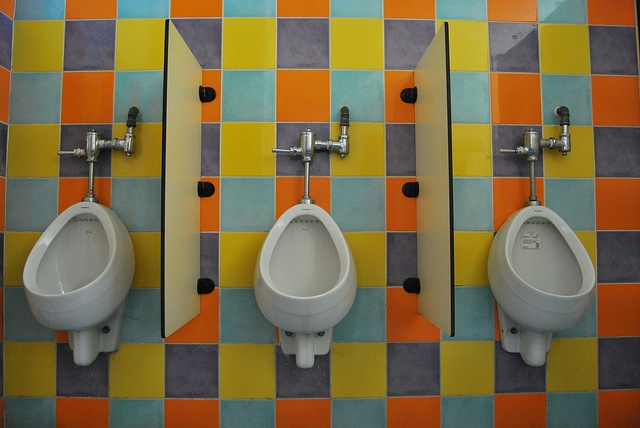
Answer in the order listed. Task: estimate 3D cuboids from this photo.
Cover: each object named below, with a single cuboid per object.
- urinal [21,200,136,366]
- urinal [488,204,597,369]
[{"bbox_3d":[-1.264,0.298,3.878,0.523,0.904,0.485,0,20,-8],"label":"urinal"},{"bbox_3d":[1.169,0.412,3.794,0.522,0.848,0.589,3,15,11],"label":"urinal"}]
